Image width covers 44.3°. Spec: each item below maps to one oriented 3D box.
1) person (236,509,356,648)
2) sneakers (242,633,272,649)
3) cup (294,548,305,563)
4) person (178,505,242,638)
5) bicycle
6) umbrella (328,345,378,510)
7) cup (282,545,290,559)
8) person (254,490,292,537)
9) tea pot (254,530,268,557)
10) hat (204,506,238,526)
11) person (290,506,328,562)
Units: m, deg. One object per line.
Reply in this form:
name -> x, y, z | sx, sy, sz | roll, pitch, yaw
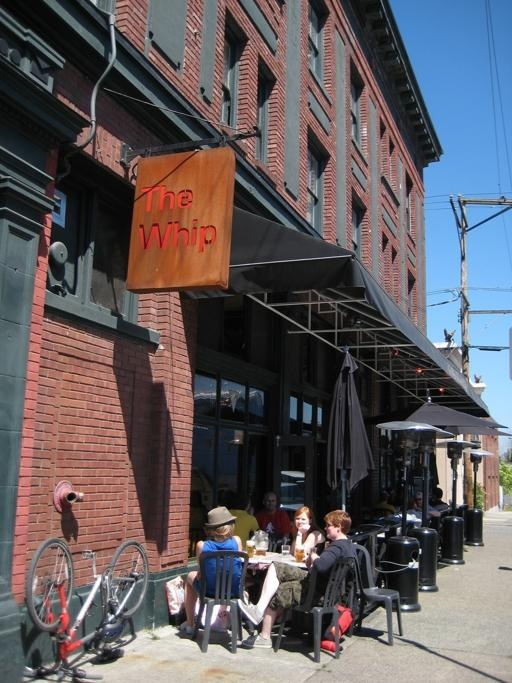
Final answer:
person -> 0.387, 2.233, 5.917 | 1.042, 1.210, 0.675 | -2, -12, 11
sneakers -> 0.009, 2.765, 5.828 | 0.249, 0.115, 0.111 | 6, -22, 2
cup -> 0.441, 2.197, 6.455 | 0.094, 0.127, 0.099 | 1, -11, 0
person -> -0.404, 2.192, 5.949 | 0.494, 1.214, 0.685 | 3, -12, -10
bicycle -> -1.320, 2.065, 5.066 | 0.677, 1.031, 1.897 | 1, -12, -4
umbrella -> 1.147, 1.057, 7.724 | 0.613, 1.917, 0.502 | 4, -12, -14
cup -> 0.302, 2.310, 6.896 | 0.096, 0.114, 0.101 | 2, -6, 0
person -> 0.190, 2.444, 8.667 | 0.490, 0.749, 0.436 | -4, -13, -7
tea pot -> 0.061, 2.194, 6.871 | 0.185, 0.317, 0.261 | -3, -13, 14
hat -> -0.362, 1.658, 5.893 | 0.208, 0.084, 0.184 | -26, -9, 31
person -> 0.536, 2.227, 6.848 | 0.380, 0.780, 0.304 | 10, -11, -37
